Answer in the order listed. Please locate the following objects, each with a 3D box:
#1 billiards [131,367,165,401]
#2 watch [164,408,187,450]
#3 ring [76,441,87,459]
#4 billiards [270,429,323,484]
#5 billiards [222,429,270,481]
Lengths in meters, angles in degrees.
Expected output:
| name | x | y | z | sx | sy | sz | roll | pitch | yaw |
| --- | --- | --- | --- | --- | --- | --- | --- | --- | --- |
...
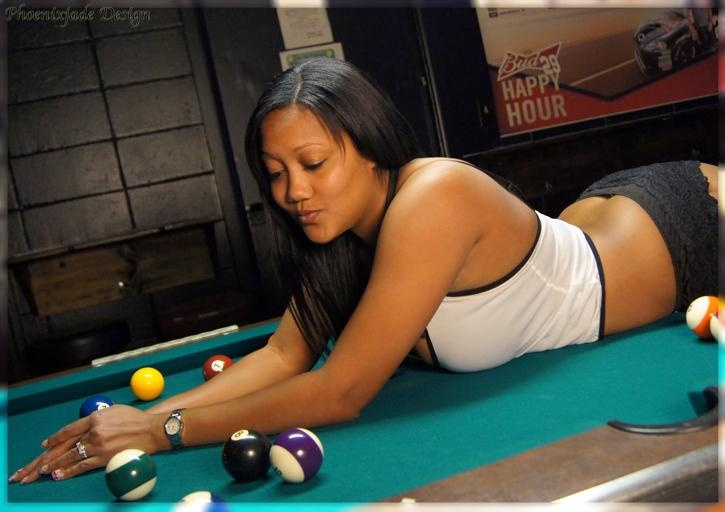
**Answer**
| name | x | y | z | sx | sy | sz | roll | pitch | yaw |
| --- | --- | --- | --- | --- | --- | --- | --- | --- | --- |
| billiards | -0.818 | 0.494 | 1.945 | 0.093 | 0.107 | 0.092 | -12 | 17 | 7 |
| watch | -0.529 | 0.497 | 1.446 | 0.058 | 0.093 | 0.087 | -21 | -16 | -2 |
| ring | -0.776 | 0.541 | 1.413 | 0.028 | 0.042 | 0.040 | -12 | 6 | -34 |
| billiards | -0.145 | 0.447 | 1.185 | 0.111 | 0.107 | 0.117 | -25 | -8 | -39 |
| billiards | -0.266 | 0.477 | 1.194 | 0.098 | 0.104 | 0.095 | -1 | 11 | 43 |
